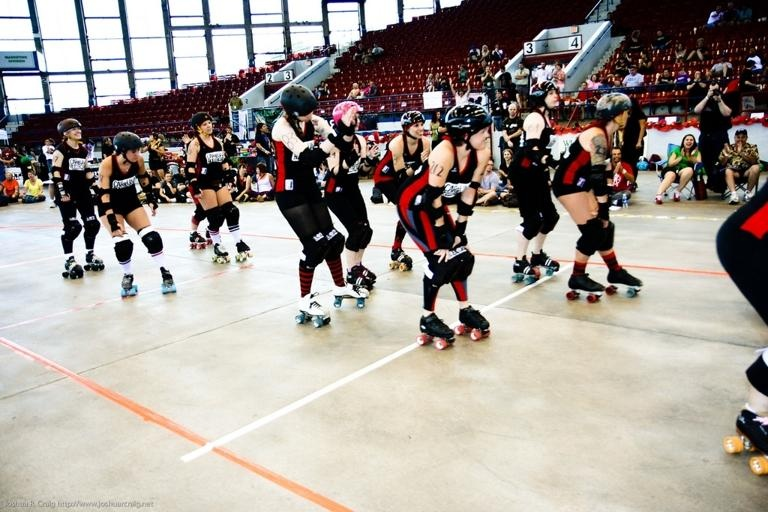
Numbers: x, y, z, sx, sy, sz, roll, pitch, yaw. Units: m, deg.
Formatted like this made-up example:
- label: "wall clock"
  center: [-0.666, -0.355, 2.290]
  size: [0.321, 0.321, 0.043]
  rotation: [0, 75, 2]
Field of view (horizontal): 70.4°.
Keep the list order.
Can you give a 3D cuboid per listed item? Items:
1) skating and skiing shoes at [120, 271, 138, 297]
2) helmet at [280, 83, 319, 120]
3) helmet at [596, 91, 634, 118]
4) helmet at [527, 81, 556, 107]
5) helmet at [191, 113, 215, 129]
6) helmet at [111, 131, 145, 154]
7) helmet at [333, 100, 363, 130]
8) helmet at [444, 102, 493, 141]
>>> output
- label: "skating and skiing shoes"
  center: [-3.706, 0.409, 7.910]
  size: [0.221, 0.296, 0.359]
  rotation: [-9, 15, -24]
- label: "helmet"
  center: [-0.970, -1.714, 6.111]
  size: [0.466, 0.372, 0.347]
  rotation: [-4, 30, 1]
- label: "helmet"
  center: [2.678, -1.745, 6.348]
  size: [0.346, 0.308, 0.350]
  rotation: [3, 15, 23]
- label: "helmet"
  center: [2.100, -2.150, 7.206]
  size: [0.328, 0.311, 0.332]
  rotation: [3, 15, 22]
- label: "helmet"
  center: [-3.035, -2.257, 9.085]
  size: [0.282, 0.293, 0.460]
  rotation: [-8, 15, -21]
- label: "helmet"
  center: [-3.664, -1.642, 7.742]
  size: [0.372, 0.310, 0.271]
  rotation: [-2, 48, 1]
- label: "helmet"
  center: [-0.405, -1.566, 5.947]
  size: [0.249, 0.262, 0.553]
  rotation: [-4, 14, -6]
- label: "helmet"
  center: [0.890, -1.360, 5.471]
  size: [0.486, 0.397, 0.409]
  rotation: [11, 39, 32]
